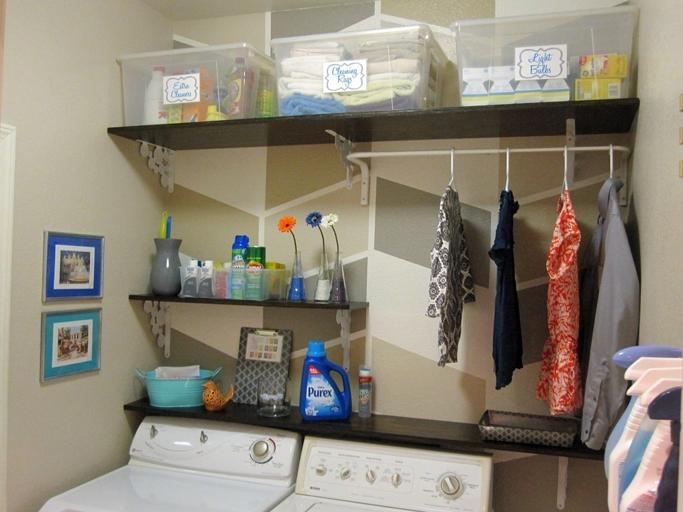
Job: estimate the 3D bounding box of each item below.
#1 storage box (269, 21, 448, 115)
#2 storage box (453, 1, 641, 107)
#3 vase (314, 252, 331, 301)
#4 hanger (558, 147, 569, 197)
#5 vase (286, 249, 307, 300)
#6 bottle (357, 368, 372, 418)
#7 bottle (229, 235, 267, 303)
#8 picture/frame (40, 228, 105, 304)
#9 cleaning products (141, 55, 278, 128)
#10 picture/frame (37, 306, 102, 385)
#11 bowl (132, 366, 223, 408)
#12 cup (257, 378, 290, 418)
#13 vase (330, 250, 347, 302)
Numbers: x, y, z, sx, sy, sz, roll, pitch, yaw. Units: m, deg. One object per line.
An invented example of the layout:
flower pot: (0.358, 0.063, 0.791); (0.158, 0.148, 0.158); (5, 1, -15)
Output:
storage box: (0.074, -0.668, 2.371); (0.489, 0.246, 0.407); (0, 4, 15)
storage box: (0.752, -0.701, 2.131); (0.552, 0.276, 0.373); (-2, 1, 16)
vase: (-0.085, 0.091, 2.586); (0.072, 0.203, 0.117); (-1, 4, -2)
hanger: (0.850, -0.322, 2.218); (0.027, 0.176, 0.428); (0, 5, 21)
vase: (-0.200, 0.093, 2.580); (0.078, 0.203, 0.106); (-3, 5, -19)
bottle: (0.105, 0.594, 2.577); (0.068, 0.206, 0.101); (-1, 4, 2)
bottle: (-0.417, 0.050, 2.567); (0.160, 0.273, 0.179); (-2, 4, -6)
picture/frame: (-1.110, 0.040, 2.383); (0.015, 0.360, 0.294); (0, -2, 27)
cleaning products: (-0.568, -0.708, 2.461); (0.403, 0.229, 0.308); (-1, -1, 17)
picture/frame: (-1.115, 0.360, 2.369); (0.025, 0.389, 0.322); (1, -1, 27)
bowl: (-0.754, 0.589, 2.681); (0.351, 0.169, 0.216); (-2, 5, -10)
cup: (-0.306, 0.634, 2.628); (0.138, 0.160, 0.137); (-1, -6, 0)
vase: (-0.017, 0.088, 2.580); (0.073, 0.208, 0.169); (-1, 5, -1)
